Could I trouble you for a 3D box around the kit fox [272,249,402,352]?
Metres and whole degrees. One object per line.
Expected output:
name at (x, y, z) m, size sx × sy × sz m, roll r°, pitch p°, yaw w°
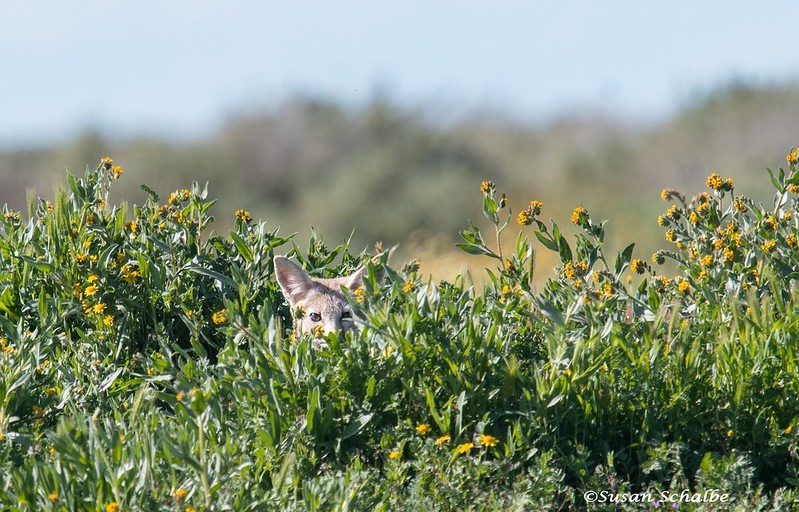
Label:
kit fox at (-0.496, 0.285, 10.686) m, size 0.489 × 0.746 × 0.987 m, roll -4°, pitch 17°, yaw -14°
